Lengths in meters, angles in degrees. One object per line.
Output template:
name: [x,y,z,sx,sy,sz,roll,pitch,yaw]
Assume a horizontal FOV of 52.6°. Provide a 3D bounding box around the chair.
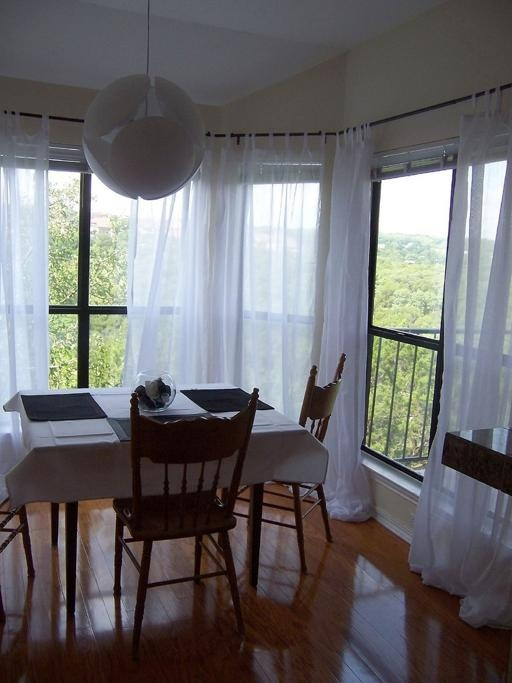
chair: [-0.068,0.681,2.006,0.668,0.720,0.269,-3,7,-41]
